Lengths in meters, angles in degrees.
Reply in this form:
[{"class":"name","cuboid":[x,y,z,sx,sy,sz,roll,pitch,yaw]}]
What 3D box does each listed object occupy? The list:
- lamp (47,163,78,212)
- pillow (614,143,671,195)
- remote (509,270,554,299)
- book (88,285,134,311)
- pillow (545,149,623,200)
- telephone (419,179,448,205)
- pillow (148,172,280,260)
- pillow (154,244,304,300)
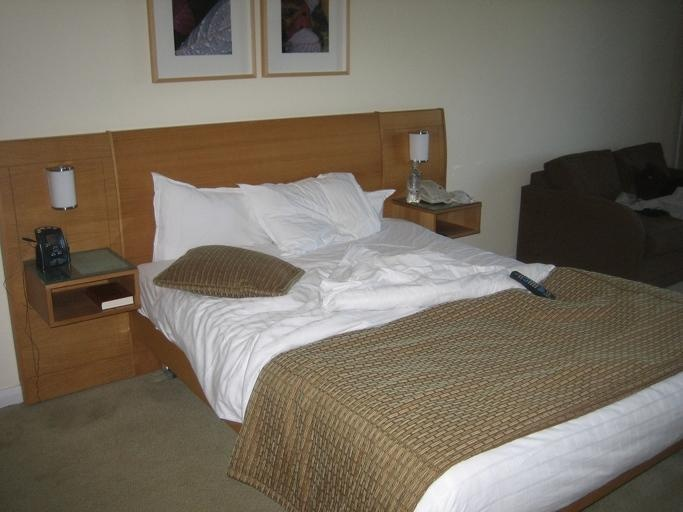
[{"class":"lamp","cuboid":[-1.657,-0.410,3.057,0.157,0.248,0.158,-11,18,-24]},{"class":"pillow","cuboid":[3.166,-1.024,5.696,0.701,0.586,0.175,-17,-5,-18]},{"class":"remote","cuboid":[1.092,0.169,3.096,0.103,0.075,0.337,-21,32,-34]},{"class":"book","cuboid":[-1.396,0.243,3.125,0.171,0.043,0.232,-12,20,-35]},{"class":"pillow","cuboid":[2.417,-0.833,5.270,0.662,0.575,0.170,-15,-9,-28]},{"class":"telephone","cuboid":[0.775,-0.549,4.430,0.208,0.081,0.244,-14,27,-41]},{"class":"pillow","cuboid":[-0.887,-0.252,3.474,0.681,0.425,0.144,5,-18,-27]},{"class":"pillow","cuboid":[-0.649,0.086,3.017,0.837,0.244,0.330,1,16,15]}]
